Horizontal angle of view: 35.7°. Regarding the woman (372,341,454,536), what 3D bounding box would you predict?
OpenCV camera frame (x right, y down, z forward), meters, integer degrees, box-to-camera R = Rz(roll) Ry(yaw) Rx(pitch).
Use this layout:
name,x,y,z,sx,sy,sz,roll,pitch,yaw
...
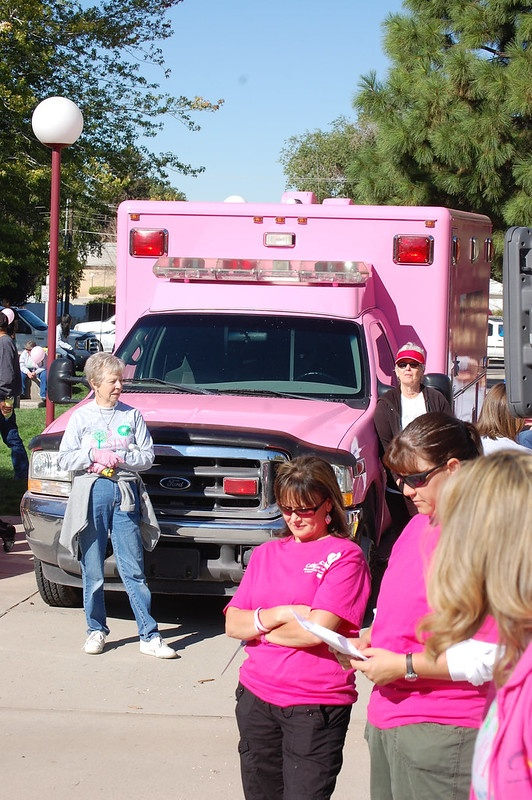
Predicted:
name,x,y,z,sx,sy,sz,roll,pitch,yaw
woman,1.149,0.469,6.137,0.638,1.779,0.546,-10,22,-11

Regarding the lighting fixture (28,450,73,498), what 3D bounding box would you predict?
name,x,y,z,sx,sy,sz,roll,pitch,yaw
lighting fixture,-1.403,0.459,5.411,0.299,0.301,0.292,3,0,16

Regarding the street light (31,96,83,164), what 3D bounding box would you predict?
name,x,y,z,sx,sy,sz,roll,pitch,yaw
street light,-2.148,-2.820,8.524,0.558,0.655,0.555,1,-3,-34

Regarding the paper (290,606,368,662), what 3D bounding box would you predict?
name,x,y,z,sx,sy,sz,roll,pitch,yaw
paper,0.155,0.595,2.035,0.149,0.045,0.108,39,-15,-6

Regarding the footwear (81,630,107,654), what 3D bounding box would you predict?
name,x,y,z,sx,sy,sz,roll,pitch,yaw
footwear,-1.049,1.482,5.068,0.074,0.078,0.203,1,-3,-2

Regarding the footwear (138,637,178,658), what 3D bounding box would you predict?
name,x,y,z,sx,sy,sz,roll,pitch,yaw
footwear,-0.653,1.506,5.078,0.258,0.114,0.100,2,4,26

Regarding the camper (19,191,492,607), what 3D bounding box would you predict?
name,x,y,z,sx,sy,sz,roll,pitch,yaw
camper,0.277,-0.462,7.054,2.291,2.464,4.345,1,2,13

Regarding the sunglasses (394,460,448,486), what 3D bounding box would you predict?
name,x,y,z,sx,sy,sz,roll,pitch,yaw
sunglasses,0.431,0.201,2.210,0.085,0.024,0.080,-24,2,-26

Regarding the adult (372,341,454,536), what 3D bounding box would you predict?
name,x,y,z,sx,sy,sz,roll,pitch,yaw
adult,1.145,0.456,6.144,0.617,1.736,0.496,-8,13,-7

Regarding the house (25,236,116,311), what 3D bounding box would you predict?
name,x,y,z,sx,sy,sz,roll,pitch,yaw
house,-17.511,-11.528,77.288,10.897,7.013,11.583,0,6,6

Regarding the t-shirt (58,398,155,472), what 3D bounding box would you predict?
name,x,y,z,sx,sy,sz,roll,pitch,yaw
t-shirt,-0.965,0.207,5.006,0.588,0.454,0.332,-1,16,-16

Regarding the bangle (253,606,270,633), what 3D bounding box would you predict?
name,x,y,z,sx,sy,sz,roll,pitch,yaw
bangle,-0.009,0.646,2.425,0.022,0.051,0.057,-16,19,-3

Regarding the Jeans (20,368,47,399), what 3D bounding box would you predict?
name,x,y,z,sx,sy,sz,roll,pitch,yaw
Jeans,-4.494,-0.363,15.998,0.545,0.669,0.556,-1,-9,6

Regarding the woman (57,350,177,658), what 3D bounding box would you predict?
name,x,y,z,sx,sy,sz,roll,pitch,yaw
woman,-0.907,0.624,5.016,0.689,1.795,0.566,0,-8,-10

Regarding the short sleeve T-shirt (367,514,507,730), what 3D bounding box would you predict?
name,x,y,z,sx,sy,sz,roll,pitch,yaw
short sleeve T-shirt,0.453,0.481,2.086,0.237,0.407,0.320,-2,-14,-6

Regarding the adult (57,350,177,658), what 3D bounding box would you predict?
name,x,y,z,sx,sy,sz,roll,pitch,yaw
adult,-0.905,0.622,5.012,0.726,1.802,0.562,0,-6,-8
